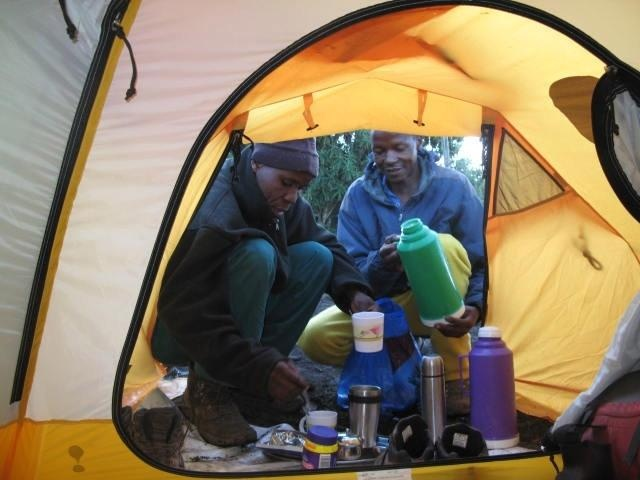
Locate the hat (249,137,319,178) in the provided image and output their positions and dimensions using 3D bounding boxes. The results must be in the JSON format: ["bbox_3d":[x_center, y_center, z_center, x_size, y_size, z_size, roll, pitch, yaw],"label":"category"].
[{"bbox_3d":[-0.119,-0.284,2.030,0.170,0.120,0.139,1,5,15],"label":"hat"}]

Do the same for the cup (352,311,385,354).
[{"bbox_3d":[0.150,0.292,1.802,0.103,0.117,0.115,-1,-1,-1],"label":"cup"}]

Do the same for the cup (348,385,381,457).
[{"bbox_3d":[0.136,0.532,1.676,0.101,0.196,0.111,2,-11,0],"label":"cup"}]

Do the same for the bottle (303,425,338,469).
[{"bbox_3d":[0.000,0.544,1.523,0.087,0.096,0.091,-1,-3,38],"label":"bottle"}]

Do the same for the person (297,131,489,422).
[{"bbox_3d":[0.312,0.050,2.365,0.712,1.126,0.719,-4,7,15],"label":"person"}]

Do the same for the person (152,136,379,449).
[{"bbox_3d":[-0.211,0.110,2.039,0.648,1.085,0.784,6,4,34],"label":"person"}]

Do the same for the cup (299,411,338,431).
[{"bbox_3d":[-0.005,0.499,1.602,0.089,0.071,0.073,-2,-1,17],"label":"cup"}]
